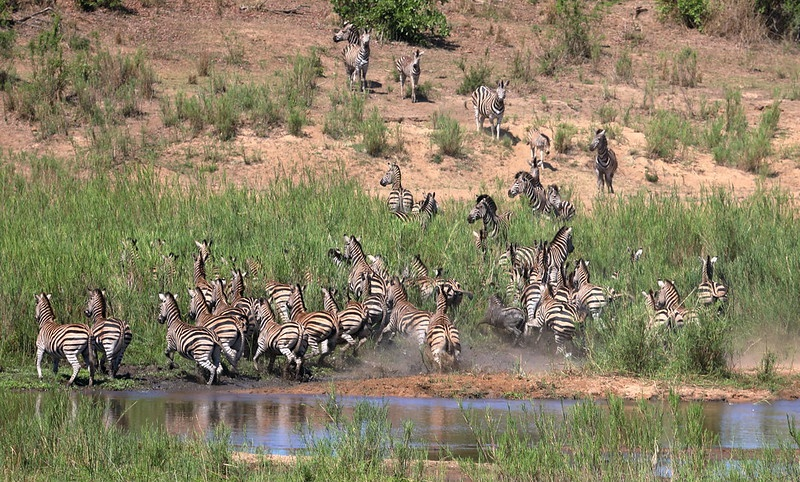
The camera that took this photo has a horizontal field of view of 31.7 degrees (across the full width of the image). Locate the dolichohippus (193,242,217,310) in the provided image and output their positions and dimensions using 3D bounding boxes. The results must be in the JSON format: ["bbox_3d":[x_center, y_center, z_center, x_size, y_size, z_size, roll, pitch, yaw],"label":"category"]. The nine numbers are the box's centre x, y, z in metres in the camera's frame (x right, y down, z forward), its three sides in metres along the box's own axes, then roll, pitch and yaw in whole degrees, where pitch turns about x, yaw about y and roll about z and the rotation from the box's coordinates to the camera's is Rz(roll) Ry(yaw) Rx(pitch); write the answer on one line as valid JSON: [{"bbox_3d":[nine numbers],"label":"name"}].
[{"bbox_3d":[-5.733,1.109,41.315,0.378,1.852,1.213,-3,-29,-16],"label":"dolichohippus"}]
